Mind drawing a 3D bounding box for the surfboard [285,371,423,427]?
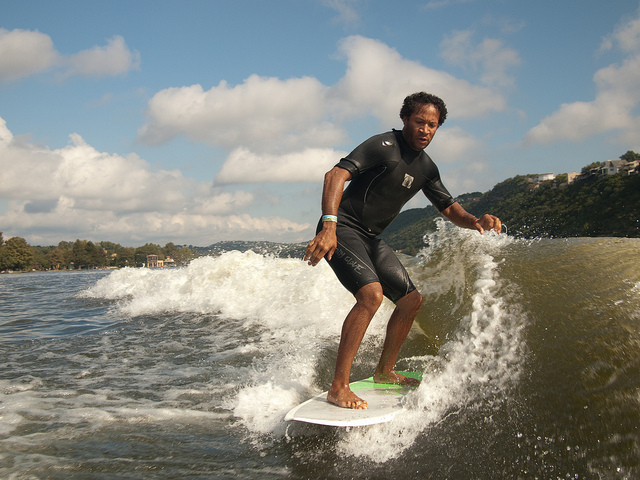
[{"bbox_3d":[0.344,1.542,4.344,0.446,0.168,1.519,12,9,35],"label":"surfboard"}]

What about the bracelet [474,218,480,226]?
[{"bbox_3d":[1.675,-0.187,5.010,0.077,0.021,0.072,-39,0,-9],"label":"bracelet"}]
